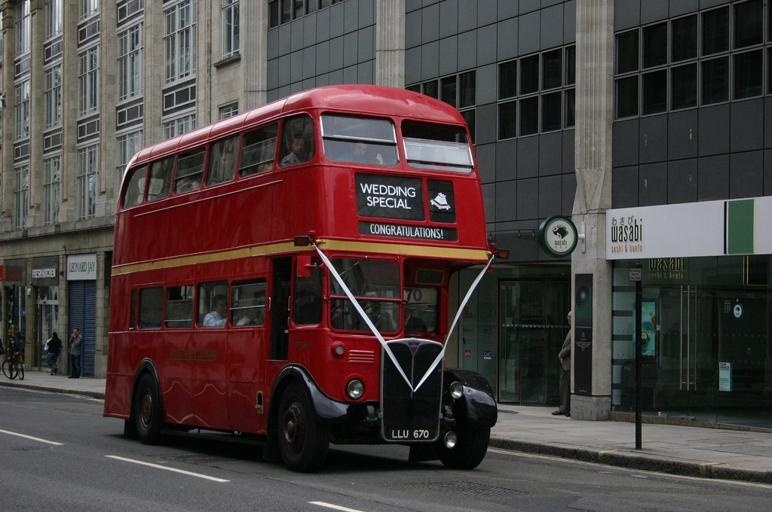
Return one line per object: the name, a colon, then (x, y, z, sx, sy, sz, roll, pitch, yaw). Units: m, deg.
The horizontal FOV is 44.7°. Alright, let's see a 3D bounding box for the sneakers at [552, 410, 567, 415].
sneakers: (4.832, 4.226, 25.680, 0.397, 0.193, 0.140, 4, -1, 27)
